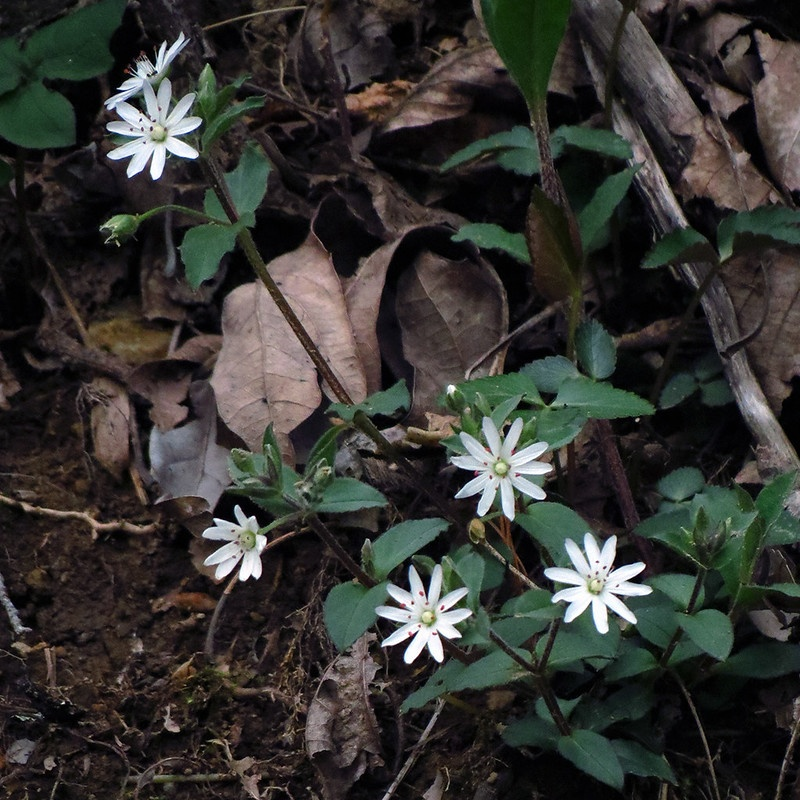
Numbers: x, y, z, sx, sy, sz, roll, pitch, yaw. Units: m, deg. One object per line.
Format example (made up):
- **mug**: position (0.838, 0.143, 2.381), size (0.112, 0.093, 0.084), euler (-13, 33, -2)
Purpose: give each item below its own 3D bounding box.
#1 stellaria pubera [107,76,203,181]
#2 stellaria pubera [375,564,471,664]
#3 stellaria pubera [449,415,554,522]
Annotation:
- **stellaria pubera**: position (-0.735, -0.805, 3.469), size (0.297, 0.089, 0.319), euler (0, 90, 27)
- **stellaria pubera**: position (0.055, 0.595, 3.186), size (0.234, 0.153, 0.269), euler (28, 59, 21)
- **stellaria pubera**: position (0.282, 0.175, 3.250), size (0.328, 0.095, 0.337), euler (0, 15, 0)
